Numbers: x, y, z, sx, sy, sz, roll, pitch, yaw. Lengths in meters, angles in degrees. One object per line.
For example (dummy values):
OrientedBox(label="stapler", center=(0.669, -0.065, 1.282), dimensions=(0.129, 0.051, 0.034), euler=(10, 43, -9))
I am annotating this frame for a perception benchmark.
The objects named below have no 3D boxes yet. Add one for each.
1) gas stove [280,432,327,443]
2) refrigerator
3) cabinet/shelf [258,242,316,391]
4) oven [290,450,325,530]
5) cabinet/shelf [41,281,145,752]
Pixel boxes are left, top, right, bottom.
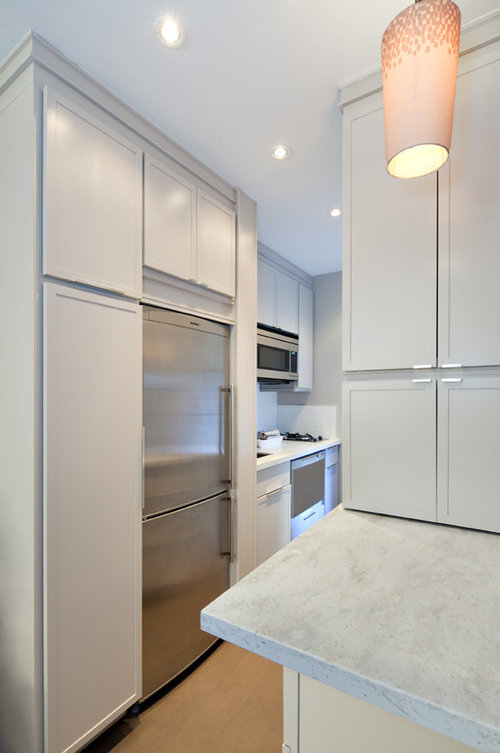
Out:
OrientedBox(label="gas stove", center=(0.383, 0.451, 3.910), dimensions=(0.353, 0.028, 0.331), euler=(0, 5, 20))
OrientedBox(label="refrigerator", center=(-0.308, 0.472, 2.214), dimensions=(0.446, 1.446, 0.337), euler=(-4, 8, -36))
OrientedBox(label="cabinet/shelf", center=(0.198, -0.293, 3.613), dimensions=(0.631, 0.804, 0.217), euler=(6, -4, -40))
OrientedBox(label="oven", center=(0.320, 0.729, 3.364), dimensions=(0.316, 0.504, 0.206), euler=(-11, 15, -37))
OrientedBox(label="cabinet/shelf", center=(-0.487, 0.409, 1.622), dimensions=(0.105, 1.374, 0.475), euler=(1, 4, 23))
